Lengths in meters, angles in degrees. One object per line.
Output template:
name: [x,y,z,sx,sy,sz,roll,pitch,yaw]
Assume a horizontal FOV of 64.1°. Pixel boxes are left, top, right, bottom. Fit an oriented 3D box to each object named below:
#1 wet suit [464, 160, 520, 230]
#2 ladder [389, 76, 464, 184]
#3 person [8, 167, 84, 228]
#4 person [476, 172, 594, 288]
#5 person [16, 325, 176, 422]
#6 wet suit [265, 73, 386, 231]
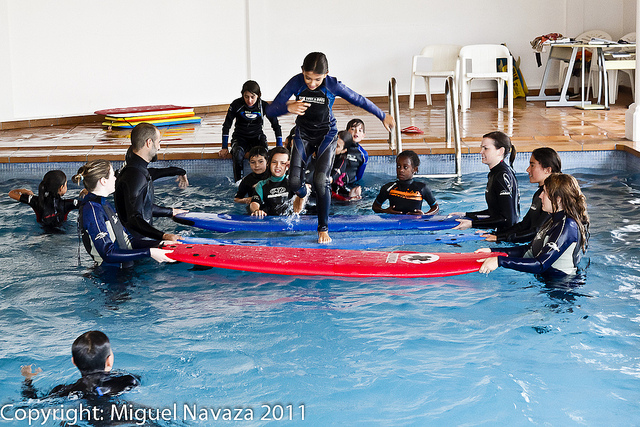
wet suit: [1.986,-0.249,5.593,0.780,0.770,0.836,1,9,11]
ladder: [1.633,-1.324,7.903,1.385,1.424,1.469,2,18,23]
person: [-3.038,-0.173,6.136,0.834,0.939,0.391,11,46,-6]
person: [1.919,0.134,4.445,1.283,0.955,0.481,-8,13,-26]
person: [-1.367,0.982,3.255,0.778,0.589,0.752,-9,13,-28]
wet suit: [0.040,-0.598,5.194,0.697,1.584,0.728,-15,17,-42]
